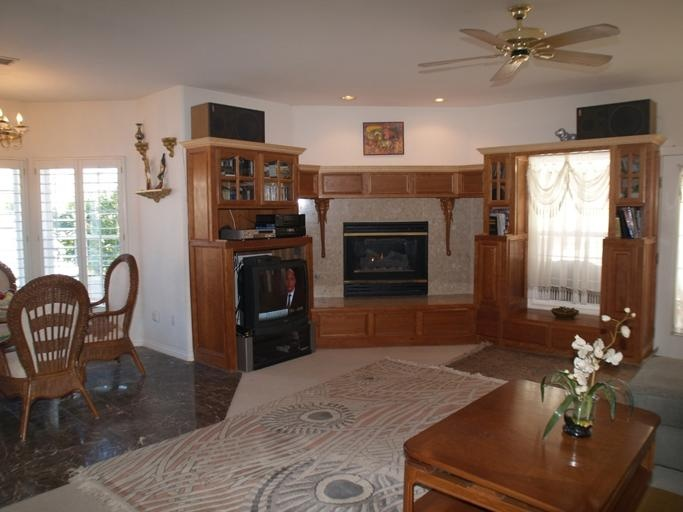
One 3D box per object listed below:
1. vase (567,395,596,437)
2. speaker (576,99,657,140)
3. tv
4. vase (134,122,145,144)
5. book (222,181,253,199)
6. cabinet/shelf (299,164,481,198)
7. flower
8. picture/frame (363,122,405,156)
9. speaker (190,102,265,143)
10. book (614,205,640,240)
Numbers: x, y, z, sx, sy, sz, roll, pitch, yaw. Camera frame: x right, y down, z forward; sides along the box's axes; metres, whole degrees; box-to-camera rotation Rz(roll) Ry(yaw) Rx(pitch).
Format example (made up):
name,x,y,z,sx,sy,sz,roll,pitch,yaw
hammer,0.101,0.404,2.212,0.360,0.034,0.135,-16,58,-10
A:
name,x,y,z,sx,sy,sz,roll,pitch,yaw
vase,1.437,0.965,3.012,0.167,0.214,0.170,8,-3,-29
speaker,3.147,-1.550,5.734,0.285,0.375,0.814,-13,15,-41
tv,-0.772,0.425,5.761,0.873,0.793,0.267,-10,14,-41
vase,-2.523,-1.548,6.250,0.101,0.252,0.273,-5,11,-20
book,-1.185,-0.743,5.674,0.084,0.218,0.413,9,14,43
cabinet/shelf,0.646,-0.989,6.746,1.936,0.336,0.219,2,11,11
flower,1.481,0.699,3.028,0.543,0.774,0.548,4,3,40
picture/frame,0.573,-1.648,6.918,0.514,0.345,0.020,0,4,-3
speaker,-1.333,-1.535,5.920,0.781,0.439,0.406,-4,4,-45
book,3.219,-0.376,5.573,0.260,0.330,0.112,3,12,22
